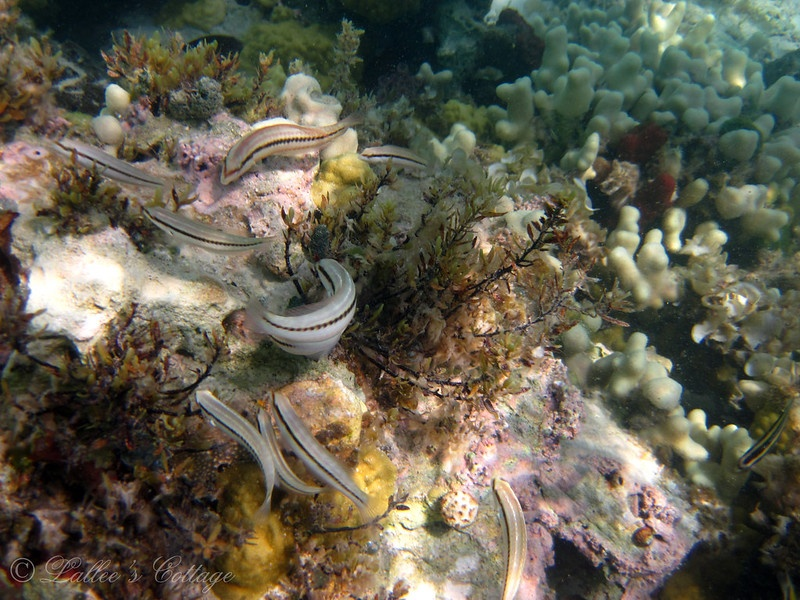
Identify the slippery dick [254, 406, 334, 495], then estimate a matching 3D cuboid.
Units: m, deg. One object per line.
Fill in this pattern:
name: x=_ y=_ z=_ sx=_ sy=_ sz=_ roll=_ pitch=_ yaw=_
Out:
slippery dick: x=-1.211 y=1.740 z=8.665 sx=0.436 sy=0.420 sz=1.188 roll=-22 pitch=83 yaw=-54
